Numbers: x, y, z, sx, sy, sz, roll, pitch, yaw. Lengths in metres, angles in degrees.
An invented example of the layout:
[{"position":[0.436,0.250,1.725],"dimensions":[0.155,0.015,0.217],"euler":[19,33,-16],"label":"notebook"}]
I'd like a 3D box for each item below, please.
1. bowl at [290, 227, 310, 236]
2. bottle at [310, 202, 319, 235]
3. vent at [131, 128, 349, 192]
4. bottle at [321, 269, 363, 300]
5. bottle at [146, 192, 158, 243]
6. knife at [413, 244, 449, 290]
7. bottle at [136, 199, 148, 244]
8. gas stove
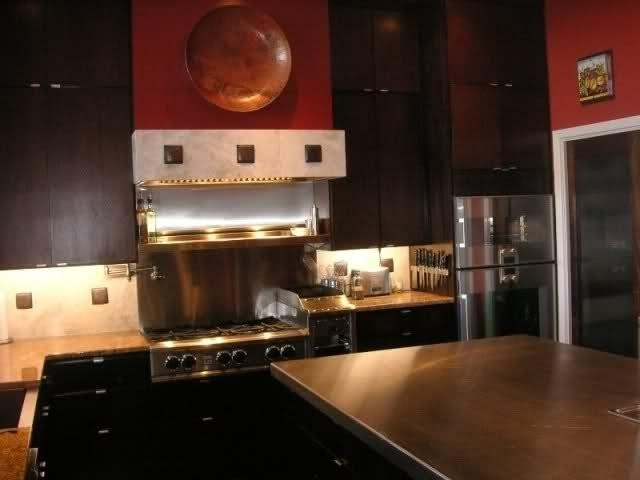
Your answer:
[{"position":[-0.159,-0.071,4.570],"dimensions":[0.092,0.046,0.096],"euler":[-2,-3,0],"label":"bowl"},{"position":[-0.047,-0.158,4.485],"dimensions":[0.075,0.234,0.211],"euler":[-5,7,6],"label":"bottle"},{"position":[-0.651,-0.636,4.067],"dimensions":[1.493,0.572,0.355],"euler":[0,1,-13],"label":"vent"},{"position":[0.213,0.395,4.696],"dimensions":[0.316,0.332,0.215],"euler":[-1,4,-4],"label":"bottle"},{"position":[-1.355,-0.175,4.272],"dimensions":[0.072,0.375,0.258],"euler":[-7,7,-13],"label":"bottle"},{"position":[1.034,0.246,4.826],"dimensions":[0.050,0.372,0.397],"euler":[-1,4,-29],"label":"knife"},{"position":[-1.417,-0.157,4.244],"dimensions":[0.092,0.339,0.279],"euler":[-7,7,-15],"label":"bottle"},{"position":[-0.706,0.823,4.101],"dimensions":[1.194,0.323,0.530],"euler":[-9,7,-19],"label":"gas stove"}]
